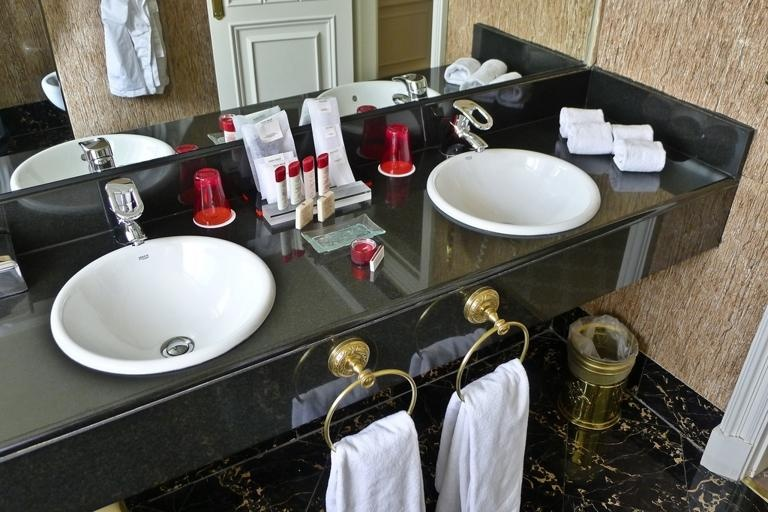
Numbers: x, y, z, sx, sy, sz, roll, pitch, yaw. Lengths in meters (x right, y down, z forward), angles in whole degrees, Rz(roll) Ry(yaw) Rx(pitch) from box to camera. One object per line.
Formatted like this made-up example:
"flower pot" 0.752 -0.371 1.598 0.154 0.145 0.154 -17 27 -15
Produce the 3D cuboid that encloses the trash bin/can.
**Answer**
"trash bin/can" 0.909 0.501 2.385 0.278 0.411 0.279 12 33 26

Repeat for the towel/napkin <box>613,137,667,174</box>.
"towel/napkin" 0.932 -0.368 2.035 0.183 0.103 0.137 5 31 15

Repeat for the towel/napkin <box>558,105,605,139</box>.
"towel/napkin" 0.755 -0.530 2.124 0.133 0.053 0.136 -8 36 -7

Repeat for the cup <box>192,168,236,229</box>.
"cup" -0.540 -0.197 1.827 0.161 0.181 0.163 1 34 -1

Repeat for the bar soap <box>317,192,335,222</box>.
"bar soap" -0.189 -0.154 1.799 0.021 0.070 0.068 20 39 27

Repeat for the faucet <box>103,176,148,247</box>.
"faucet" -0.770 -0.133 1.657 0.087 0.189 0.136 -22 55 -27

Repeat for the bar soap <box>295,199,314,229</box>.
"bar soap" -0.254 -0.130 1.773 0.024 0.068 0.068 21 38 26

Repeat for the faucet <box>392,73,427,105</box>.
"faucet" 0.106 -0.613 2.052 0.144 0.093 0.077 -16 51 -10

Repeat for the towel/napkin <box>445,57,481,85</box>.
"towel/napkin" 0.300 -0.718 2.130 0.086 0.050 0.135 22 46 24

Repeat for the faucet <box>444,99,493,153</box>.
"faucet" 0.307 -0.486 2.083 0.096 0.121 0.176 -30 64 -23

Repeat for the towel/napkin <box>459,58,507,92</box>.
"towel/napkin" 0.400 -0.716 2.184 0.115 0.057 0.167 19 46 33

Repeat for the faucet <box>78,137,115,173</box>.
"faucet" -0.871 -0.307 1.685 0.057 0.096 0.054 -24 58 -27

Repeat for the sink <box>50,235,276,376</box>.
"sink" -0.587 0.143 1.534 0.568 0.219 0.417 -8 30 -7
